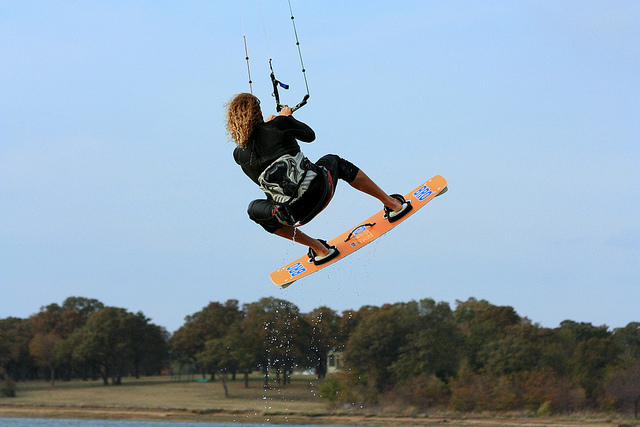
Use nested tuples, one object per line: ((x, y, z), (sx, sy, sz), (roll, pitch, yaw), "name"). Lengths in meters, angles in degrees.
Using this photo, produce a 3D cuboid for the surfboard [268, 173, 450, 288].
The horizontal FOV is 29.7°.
((1.561, 0.766, 45.381), (7.625, 1.563, 1.030), (-32, -66, -2), "surfboard")
